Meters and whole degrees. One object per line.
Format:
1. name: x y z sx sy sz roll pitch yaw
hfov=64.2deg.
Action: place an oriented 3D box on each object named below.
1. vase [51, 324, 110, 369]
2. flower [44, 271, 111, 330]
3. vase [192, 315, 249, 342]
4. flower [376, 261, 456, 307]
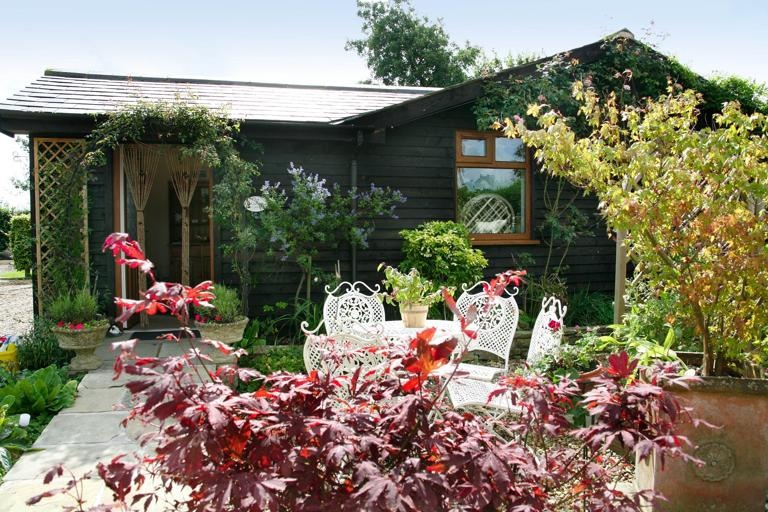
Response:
1. vase: -3.849 1.150 7.837 0.592 0.469 0.603 0 5 3
2. flower: -3.981 0.587 7.912 0.629 0.435 0.620 2 9 -2
3. vase: -2.127 0.961 7.976 0.454 0.309 0.466 0 -2 18
4. flower: 0.328 0.367 6.935 0.811 0.451 0.511 12 -3 -27
